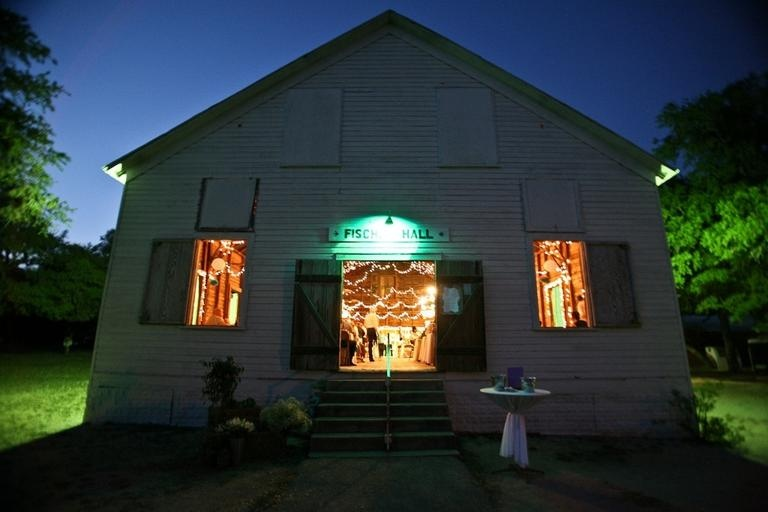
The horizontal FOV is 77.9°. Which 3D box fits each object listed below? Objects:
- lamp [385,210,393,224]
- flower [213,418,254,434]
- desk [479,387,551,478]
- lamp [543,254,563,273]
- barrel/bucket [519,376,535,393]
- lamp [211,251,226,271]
[{"bbox_3d":[0.134,-1.063,13.605,0.263,0.255,0.249,1,-11,-4],"label":"lamp"},{"bbox_3d":[-3.484,3.947,11.060,0.523,0.295,0.509,8,-8,-31],"label":"flower"},{"bbox_3d":[2.951,3.789,10.539,1.502,1.437,1.447,0,-16,9],"label":"desk"},{"bbox_3d":[5.738,0.282,16.180,0.564,0.377,0.571,2,4,43],"label":"lamp"},{"bbox_3d":[3.165,2.860,10.564,0.407,0.323,0.309,0,-7,10],"label":"barrel/bucket"},{"bbox_3d":[-5.496,0.162,16.103,0.581,0.506,0.551,1,-10,-10],"label":"lamp"}]
